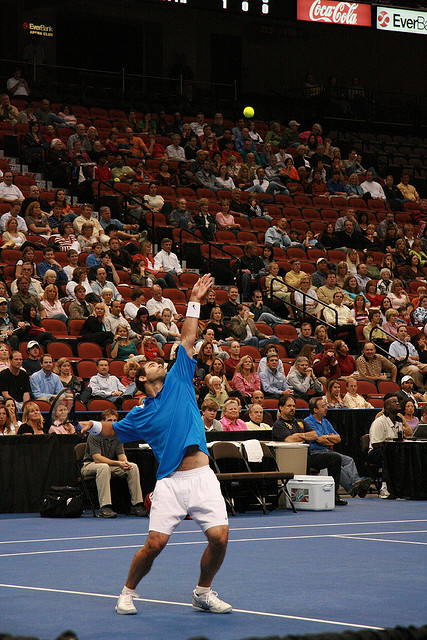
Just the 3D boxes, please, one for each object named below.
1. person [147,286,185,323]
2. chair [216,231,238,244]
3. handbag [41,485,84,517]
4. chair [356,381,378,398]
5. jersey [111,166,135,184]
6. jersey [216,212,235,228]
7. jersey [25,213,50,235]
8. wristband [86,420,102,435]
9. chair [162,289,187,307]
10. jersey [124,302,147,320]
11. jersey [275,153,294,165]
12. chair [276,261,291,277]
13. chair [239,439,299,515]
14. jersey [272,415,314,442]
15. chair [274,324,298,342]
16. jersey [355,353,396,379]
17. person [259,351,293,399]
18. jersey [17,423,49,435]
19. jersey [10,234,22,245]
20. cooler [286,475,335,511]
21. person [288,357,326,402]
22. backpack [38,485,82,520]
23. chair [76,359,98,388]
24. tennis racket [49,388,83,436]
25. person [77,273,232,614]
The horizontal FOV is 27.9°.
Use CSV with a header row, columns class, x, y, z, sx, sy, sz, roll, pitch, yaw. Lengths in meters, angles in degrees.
class,x,y,z,sx,sy,sz,roll,pitch,yaw
person,-0.924,-0.262,15.574,0.713,0.697,0.523,-3,0,42
chair,0.282,-1.959,20.152,0.341,0.388,0.360,0,-1,-34
handbag,-1.754,2.034,9.916,0.433,0.298,0.361,-1,-2,31
chair,2.716,1.210,15.191,0.260,0.317,0.285,3,4,18
jersey,-2.267,-3.603,21.229,0.512,0.494,0.588,0,3,-5
jersey,0.253,-2.418,20.708,0.258,0.432,0.473,-8,-6,43
jersey,-3.547,-1.913,17.041,0.250,0.407,0.456,-32,-11,30
wristband,-0.651,0.581,4.682,0.077,0.054,0.064,-8,9,-28
chair,-0.764,-0.462,16.616,0.363,0.407,0.379,1,-5,-31
jersey,-1.400,-0.179,15.139,0.267,0.220,0.350,1,-6,-35
jersey,2.062,-4.834,25.623,0.570,0.392,0.623,0,3,-13
chair,1.571,-1.181,19.259,0.325,0.343,0.416,-3,-4,22
chair,0.638,1.924,10.704,0.688,0.844,0.629,-6,-10,36
jersey,1.057,1.464,11.777,0.582,0.269,0.339,2,-11,-41
chair,1.421,0.229,16.905,0.348,0.435,0.387,1,-4,-29
jersey,2.979,0.817,15.955,1.029,0.421,0.381,-2,4,-40
person,1.010,0.864,13.775,0.526,0.713,0.875,0,3,-5
jersey,-2.285,1.381,10.705,0.295,0.178,0.174,8,-18,-14
jersey,-3.751,-1.535,16.188,0.166,0.117,0.145,3,-42,-8
cooler,1.263,2.205,11.073,0.450,0.452,0.701,3,-6,-39
person,1.493,1.068,14.126,0.584,0.903,0.484,-1,1,36
backpack,-1.766,2.115,9.973,0.578,0.383,0.346,0,-15,21
chair,-1.934,0.778,13.022,0.375,0.481,0.371,3,-10,-19
tennis racket,-1.684,1.037,9.693,0.371,0.571,0.441,-12,-19,-11
person,-0.268,0.665,4.671,0.776,1.839,0.546,1,4,11
